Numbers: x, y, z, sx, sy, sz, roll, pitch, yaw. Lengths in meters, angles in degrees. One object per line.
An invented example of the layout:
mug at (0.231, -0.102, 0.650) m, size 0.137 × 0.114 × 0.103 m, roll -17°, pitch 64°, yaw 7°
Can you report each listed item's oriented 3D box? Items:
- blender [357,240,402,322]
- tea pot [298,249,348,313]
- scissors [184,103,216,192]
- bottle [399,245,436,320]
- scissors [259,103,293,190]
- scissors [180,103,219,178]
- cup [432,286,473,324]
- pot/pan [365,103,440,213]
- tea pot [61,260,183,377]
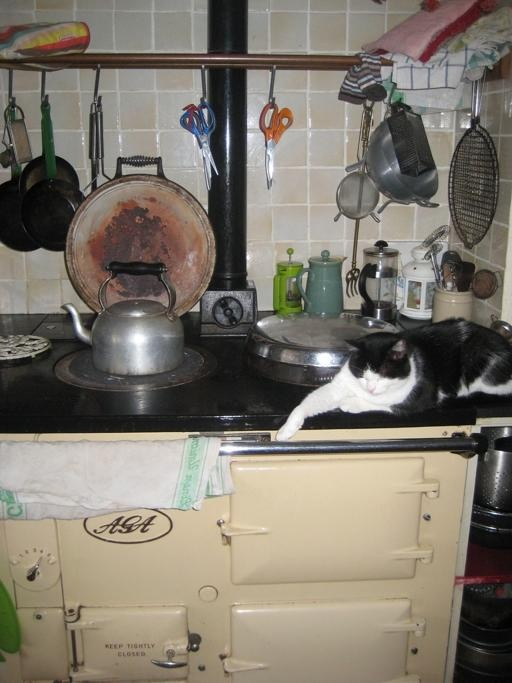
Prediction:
blender at (0.365, -0.181, 1.861) m, size 0.113 × 0.233 × 0.200 m, roll 2°, pitch 10°, yaw 13°
tea pot at (0.194, -0.171, 1.805) m, size 0.192 × 0.186 × 0.123 m, roll -13°, pitch 22°, yaw -33°
scissors at (-0.119, -0.497, 1.609) m, size 0.104 × 0.207 × 0.025 m, roll -10°, pitch -1°, yaw 40°
bottle at (0.500, -0.174, 1.855) m, size 0.143 × 0.204 × 0.136 m, roll -3°, pitch 20°, yaw 1°
scissors at (0.039, -0.548, 1.696) m, size 0.120 × 0.016 × 0.231 m, roll 18°, pitch -25°, yaw 5°
scissors at (-0.128, -0.526, 1.605) m, size 0.101 × 0.202 × 0.025 m, roll -9°, pitch 0°, yaw 44°
cup at (0.524, -0.098, 1.715) m, size 0.107 × 0.104 × 0.103 m, roll -1°, pitch 17°, yaw 0°
pot/pan at (0.397, -0.485, 1.642) m, size 0.188 × 0.264 × 0.284 m, roll -3°, pitch 10°, yaw -12°
tea pot at (-0.300, -0.067, 1.451) m, size 0.290 × 0.231 × 0.213 m, roll 0°, pitch 19°, yaw -5°
